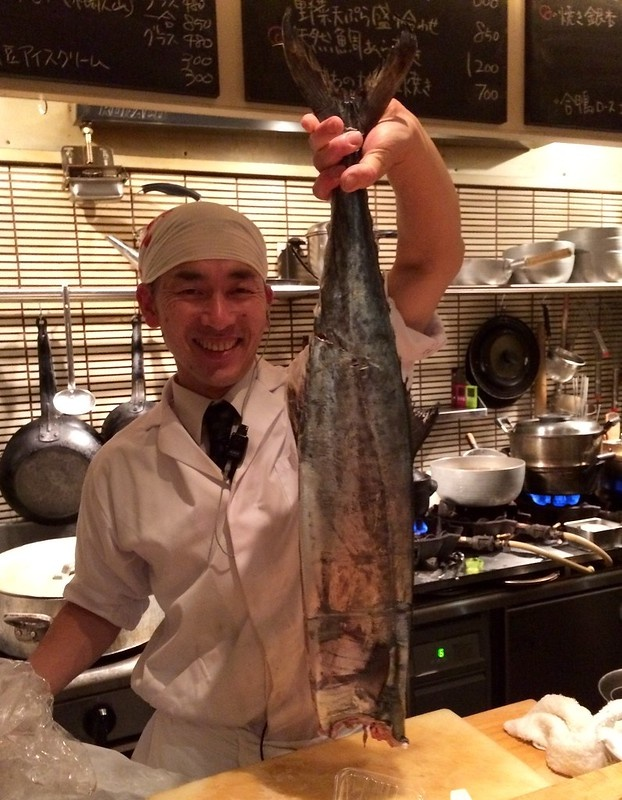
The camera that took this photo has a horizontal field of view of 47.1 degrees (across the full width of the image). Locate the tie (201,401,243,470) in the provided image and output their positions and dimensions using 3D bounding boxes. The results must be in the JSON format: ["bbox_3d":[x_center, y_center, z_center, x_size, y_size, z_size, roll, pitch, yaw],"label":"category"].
[{"bbox_3d":[-0.153,0.067,1.330,0.077,0.124,0.032,-26,-16,29],"label":"tie"}]

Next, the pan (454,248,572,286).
[{"bbox_3d":[0.799,-0.496,2.702,0.358,0.139,0.382,3,6,36],"label":"pan"}]

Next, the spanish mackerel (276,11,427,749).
[{"bbox_3d":[0.044,-0.027,0.924,0.215,0.878,0.130,-1,-2,-5],"label":"spanish mackerel"}]

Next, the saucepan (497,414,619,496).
[{"bbox_3d":[0.935,0.202,2.702,0.330,0.274,0.481,-9,7,-44],"label":"saucepan"}]

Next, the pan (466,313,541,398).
[{"bbox_3d":[0.859,-0.182,3.121,0.351,0.349,0.116,-4,6,-33],"label":"pan"}]

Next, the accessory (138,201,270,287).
[{"bbox_3d":[-0.188,-0.270,1.245,0.169,0.097,0.166,0,16,1],"label":"accessory"}]
